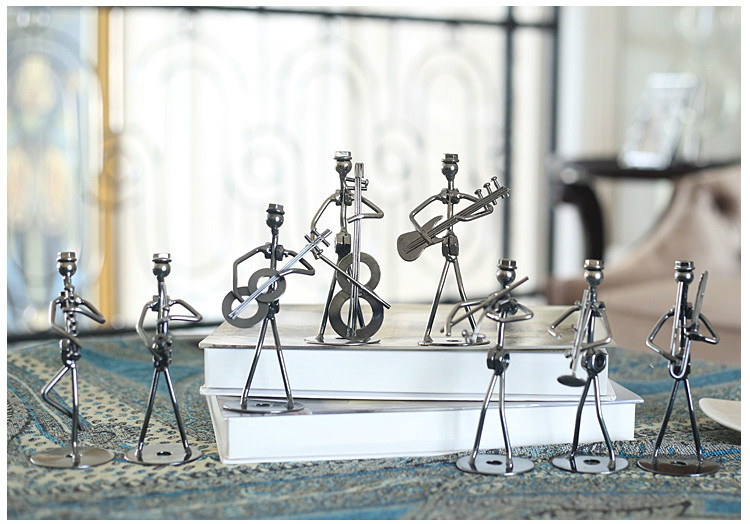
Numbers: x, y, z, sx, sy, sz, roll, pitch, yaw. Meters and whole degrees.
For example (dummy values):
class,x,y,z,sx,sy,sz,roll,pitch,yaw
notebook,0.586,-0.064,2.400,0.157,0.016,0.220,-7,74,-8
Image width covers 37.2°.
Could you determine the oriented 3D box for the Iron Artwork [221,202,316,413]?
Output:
class,x,y,z,sx,sy,sz,roll,pitch,yaw
Iron Artwork,-0.193,0.081,2.024,0.158,0.375,0.130,1,-2,-9
